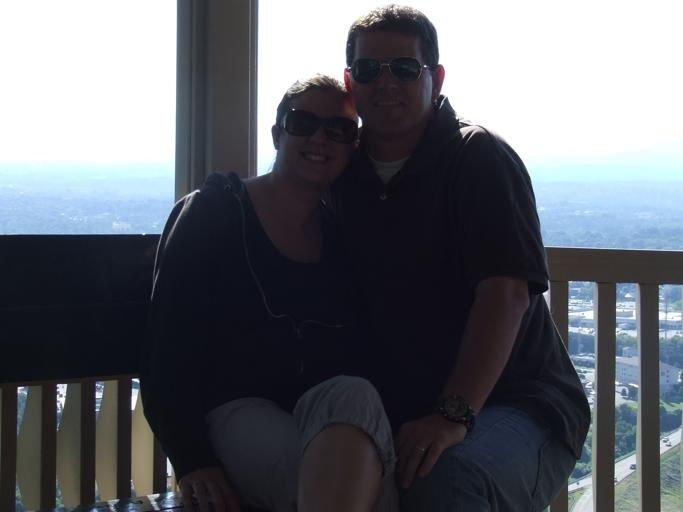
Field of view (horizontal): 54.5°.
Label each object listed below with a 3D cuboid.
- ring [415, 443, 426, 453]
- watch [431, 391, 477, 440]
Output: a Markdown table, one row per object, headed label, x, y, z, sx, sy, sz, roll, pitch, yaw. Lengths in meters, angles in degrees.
| label | x | y | z | sx | sy | sz | roll | pitch | yaw |
| --- | --- | --- | --- | --- | --- | --- | --- | --- | --- |
| ring | 0.226 | 0.540 | 1.858 | 0.018 | 0.020 | 0.007 | 0 | 14 | -4 |
| watch | 0.334 | 0.455 | 1.927 | 0.105 | 0.103 | 0.098 | -48 | -3 | -15 |
